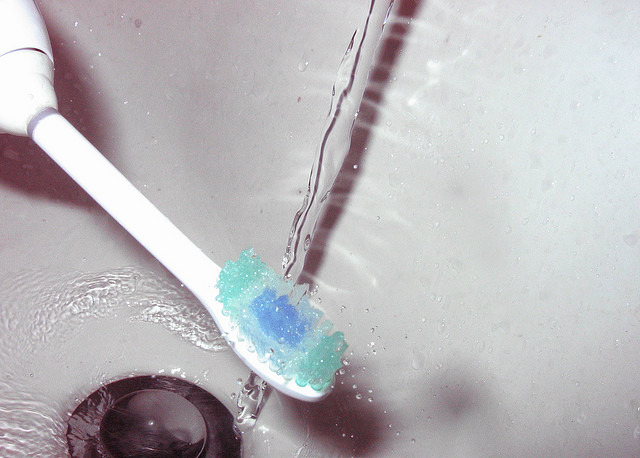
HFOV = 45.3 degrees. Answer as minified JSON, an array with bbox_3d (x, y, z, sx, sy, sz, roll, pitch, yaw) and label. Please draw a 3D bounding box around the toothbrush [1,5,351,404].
[{"bbox_3d":[-0.176,-0.019,0.827,0.530,0.088,0.116,44,77,8],"label":"toothbrush"}]
